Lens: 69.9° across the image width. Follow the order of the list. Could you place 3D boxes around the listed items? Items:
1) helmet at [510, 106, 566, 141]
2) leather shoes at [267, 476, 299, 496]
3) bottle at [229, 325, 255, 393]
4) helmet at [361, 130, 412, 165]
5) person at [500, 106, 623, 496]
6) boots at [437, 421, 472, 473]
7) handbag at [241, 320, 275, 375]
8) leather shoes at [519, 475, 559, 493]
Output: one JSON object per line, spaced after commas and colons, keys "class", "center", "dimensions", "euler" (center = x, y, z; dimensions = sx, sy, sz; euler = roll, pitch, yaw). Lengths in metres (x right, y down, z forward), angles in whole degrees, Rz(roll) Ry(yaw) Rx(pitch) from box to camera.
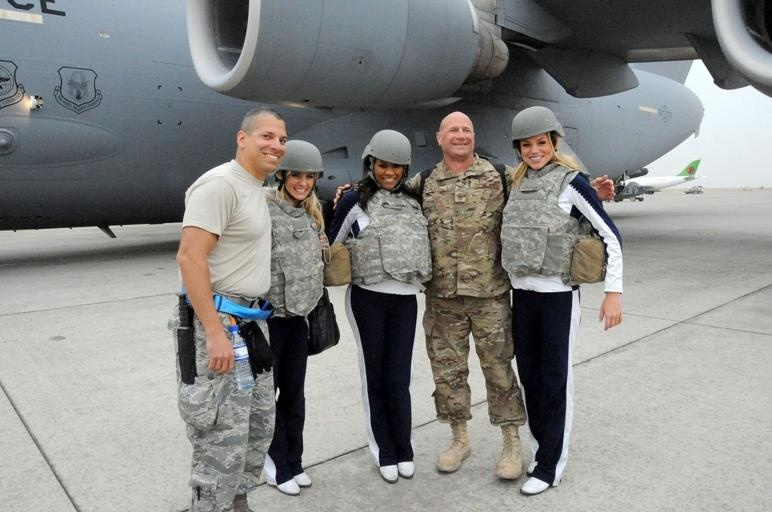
{"class": "helmet", "center": [0.975, -0.857, 3.553], "dimensions": [0.411, 0.206, 0.382], "euler": [-6, 11, 15]}
{"class": "leather shoes", "center": [-0.622, 1.375, 3.322], "dimensions": [0.201, 0.068, 0.073], "euler": [-3, -1, 34]}
{"class": "bottle", "center": [-0.735, 0.506, 2.794], "dimensions": [0.089, 0.306, 0.158], "euler": [-5, 16, -16]}
{"class": "helmet", "center": [0.003, -0.686, 3.551], "dimensions": [0.275, 0.181, 0.241], "euler": [6, 35, -12]}
{"class": "person", "center": [1.064, 0.234, 3.389], "dimensions": [0.692, 2.249, 0.909], "euler": [1, 15, 3]}
{"class": "boots", "center": [0.431, 1.207, 3.570], "dimensions": [0.150, 0.253, 0.413], "euler": [0, 1, 29]}
{"class": "handbag", "center": [-0.661, 0.461, 2.870], "dimensions": [0.221, 0.246, 0.094], "euler": [11, 15, 32]}
{"class": "leather shoes", "center": [0.942, 1.374, 3.336], "dimensions": [0.248, 0.082, 0.082], "euler": [4, -12, -20]}
